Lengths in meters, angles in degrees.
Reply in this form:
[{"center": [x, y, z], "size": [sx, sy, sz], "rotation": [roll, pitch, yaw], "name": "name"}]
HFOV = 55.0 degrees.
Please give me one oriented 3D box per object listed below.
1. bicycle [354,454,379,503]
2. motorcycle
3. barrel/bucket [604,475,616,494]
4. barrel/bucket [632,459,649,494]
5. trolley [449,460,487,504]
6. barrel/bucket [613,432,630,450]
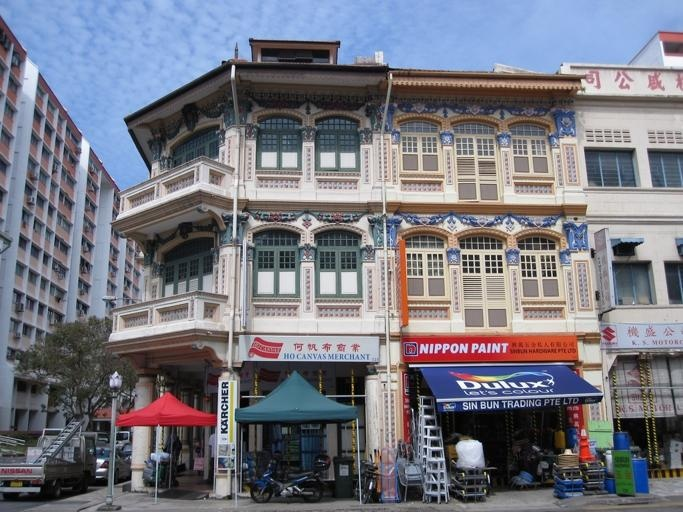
[{"center": [0.903, 8.012, 23.397], "size": [0.882, 1.467, 2.292], "rotation": [-1, -19, 1], "name": "bicycle"}, {"center": [-1.779, 7.771, 22.780], "size": [2.599, 1.546, 1.254], "rotation": [1, -48, 0], "name": "motorcycle"}, {"center": [9.140, 7.756, 22.167], "size": [0.155, 0.556, 0.458], "rotation": [7, -21, -22], "name": "barrel/bucket"}, {"center": [10.060, 7.368, 21.975], "size": [0.337, 1.194, 0.662], "rotation": [-18, -25, 40], "name": "barrel/bucket"}, {"center": [4.487, 7.876, 22.845], "size": [1.036, 0.848, 1.421], "rotation": [0, -1, 13], "name": "trolley"}, {"center": [9.795, 6.531, 23.010], "size": [0.592, 0.638, 0.598], "rotation": [3, -19, 1], "name": "barrel/bucket"}]
